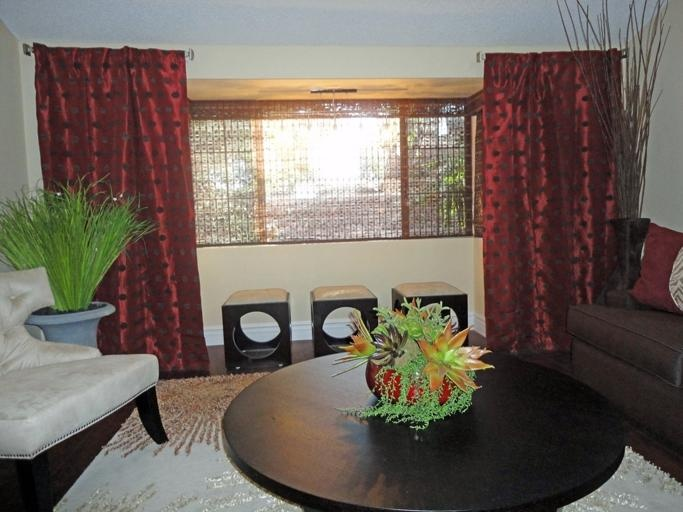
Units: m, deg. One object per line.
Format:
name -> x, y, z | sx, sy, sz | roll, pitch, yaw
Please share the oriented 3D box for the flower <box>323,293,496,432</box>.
flower -> 0.322, 0.474, 2.484 | 0.560, 0.439, 0.573 | 2, -4, 4
